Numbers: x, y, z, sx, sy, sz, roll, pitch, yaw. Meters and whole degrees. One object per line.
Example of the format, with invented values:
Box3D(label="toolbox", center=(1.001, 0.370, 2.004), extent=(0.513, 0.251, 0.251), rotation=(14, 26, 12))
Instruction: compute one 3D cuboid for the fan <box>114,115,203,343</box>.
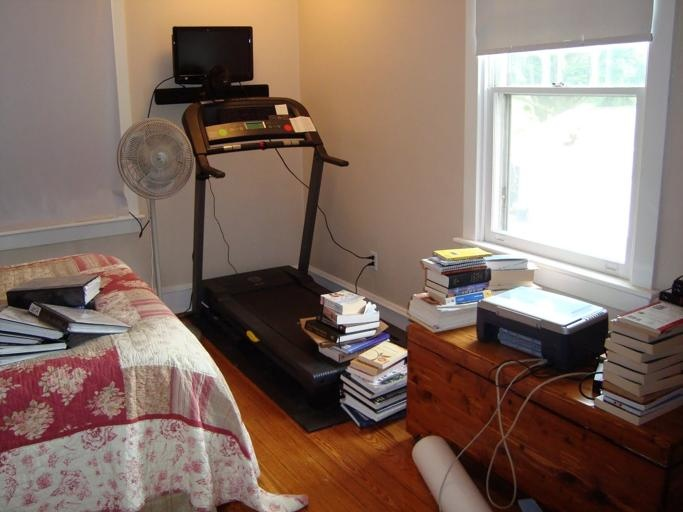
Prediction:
Box3D(label="fan", center=(-1.214, -0.131, 3.594), extent=(0.472, 1.440, 0.448), rotation=(1, 14, -11))

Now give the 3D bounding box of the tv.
Box3D(label="tv", center=(-0.950, -1.450, 3.850), extent=(0.680, 0.420, 0.097), rotation=(-13, 23, -39))

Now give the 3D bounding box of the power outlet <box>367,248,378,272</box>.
Box3D(label="power outlet", center=(0.234, 0.028, 4.114), extent=(0.016, 0.172, 0.147), rotation=(-6, 15, -25))

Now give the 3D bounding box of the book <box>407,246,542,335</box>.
Box3D(label="book", center=(0.615, 0.139, 2.688), extent=(0.739, 0.354, 0.375), rotation=(-15, 24, -31))
